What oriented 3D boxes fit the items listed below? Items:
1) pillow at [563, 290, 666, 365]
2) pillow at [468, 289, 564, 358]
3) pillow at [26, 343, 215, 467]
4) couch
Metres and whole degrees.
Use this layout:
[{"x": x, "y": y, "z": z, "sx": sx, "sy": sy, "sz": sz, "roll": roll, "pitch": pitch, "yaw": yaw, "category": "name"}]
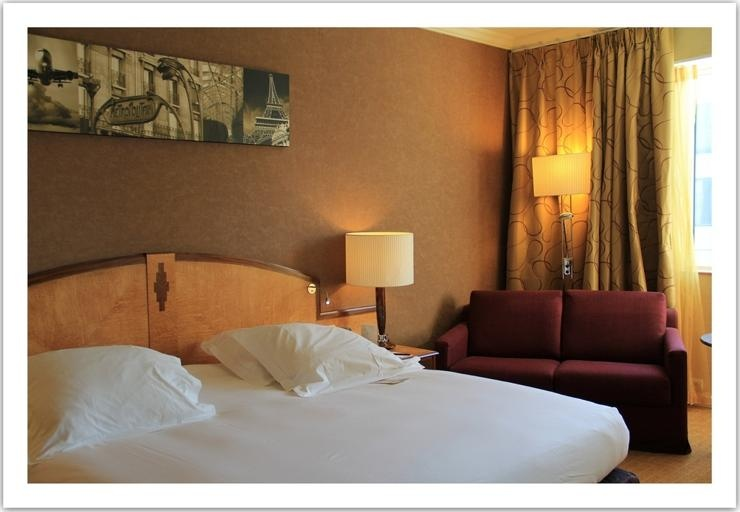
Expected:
[{"x": 1.928, "y": 0.565, "z": 4.321, "sx": 0.801, "sy": 0.554, "sz": 0.299, "roll": 0, "pitch": 10, "yaw": 32, "category": "pillow"}, {"x": 1.219, "y": 0.596, "z": 4.550, "sx": 0.874, "sy": 0.594, "sz": 0.309, "roll": -2, "pitch": -8, "yaw": 27, "category": "pillow"}, {"x": -1.213, "y": 0.684, "z": 2.626, "sx": 0.755, "sy": 0.365, "sz": 0.364, "roll": -3, "pitch": 4, "yaw": -30, "category": "pillow"}, {"x": 1.502, "y": 0.902, "z": 4.314, "sx": 1.779, "sy": 0.923, "sz": 0.797, "roll": -2, "pitch": 6, "yaw": 27, "category": "couch"}]
